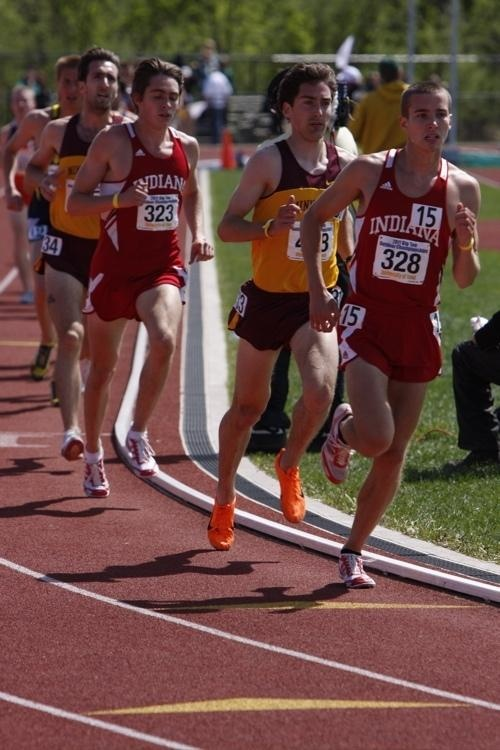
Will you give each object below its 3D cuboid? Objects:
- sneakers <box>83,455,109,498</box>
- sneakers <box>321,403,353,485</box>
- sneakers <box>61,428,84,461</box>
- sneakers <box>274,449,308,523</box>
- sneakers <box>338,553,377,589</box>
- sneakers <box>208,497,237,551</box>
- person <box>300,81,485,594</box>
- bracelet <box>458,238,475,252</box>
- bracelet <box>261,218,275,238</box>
[{"bbox_3d":[-0.808,0.551,4.229,0.125,0.253,0.211,1,7,-11],"label":"sneakers"},{"bbox_3d":[0.382,0.293,3.307,0.131,0.314,0.133,-4,22,-19],"label":"sneakers"},{"bbox_3d":[-0.954,0.390,4.315,0.107,0.185,0.131,4,33,-14],"label":"sneakers"},{"bbox_3d":[0.174,0.494,3.593,0.119,0.350,0.142,-4,-29,-15],"label":"sneakers"},{"bbox_3d":[0.414,0.775,3.231,0.079,0.091,0.218,0,0,-19],"label":"sneakers"},{"bbox_3d":[-0.118,0.643,3.495,0.087,0.101,0.241,2,39,-4],"label":"sneakers"},{"bbox_3d":[0.487,-0.100,3.020,0.462,1.887,0.456,-3,8,-37],"label":"person"},{"bbox_3d":[0.771,-0.456,2.840,0.050,0.045,0.018,-20,26,-18],"label":"bracelet"},{"bbox_3d":[0.069,-0.576,3.153,0.037,0.066,0.054,28,11,16],"label":"bracelet"}]
